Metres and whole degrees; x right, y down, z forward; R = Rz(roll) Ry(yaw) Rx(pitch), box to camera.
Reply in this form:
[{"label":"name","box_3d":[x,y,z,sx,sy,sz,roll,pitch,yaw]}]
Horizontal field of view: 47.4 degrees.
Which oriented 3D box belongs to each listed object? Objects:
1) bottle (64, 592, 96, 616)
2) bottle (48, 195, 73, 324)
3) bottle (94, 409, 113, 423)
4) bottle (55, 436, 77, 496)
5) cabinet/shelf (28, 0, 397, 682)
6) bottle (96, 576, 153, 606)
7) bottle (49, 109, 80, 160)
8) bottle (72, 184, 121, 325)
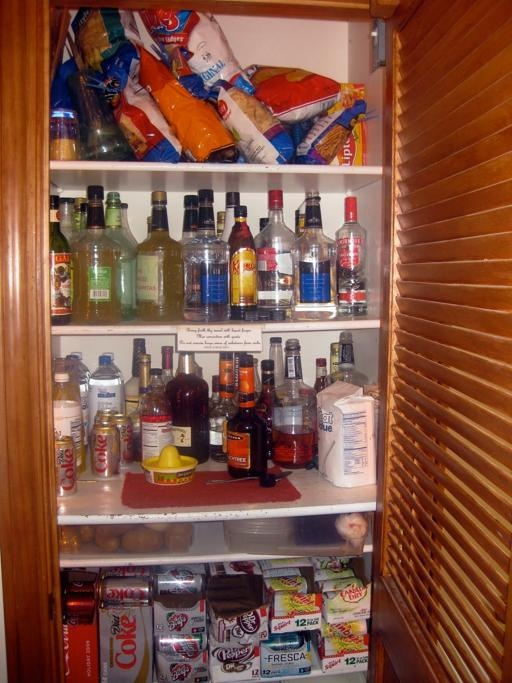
[{"label":"bottle","box_3d":[-0.394,0.590,1.307,0.064,0.051,0.051,3,6,0]},{"label":"bottle","box_3d":[-0.454,-0.191,1.353,0.050,0.283,0.201,-4,11,-16]},{"label":"bottle","box_3d":[-0.371,0.181,1.421,0.031,0.028,0.030,2,-4,-1]},{"label":"bottle","box_3d":[-0.425,0.275,1.306,0.037,0.134,0.085,-1,11,-5]},{"label":"cabinet/shelf","box_3d":[-0.093,-0.211,1.474,0.873,1.353,0.654,-2,11,-9]},{"label":"bottle","box_3d":[-0.297,0.569,1.332,0.096,0.056,0.040,3,1,-9]},{"label":"bottle","box_3d":[-0.426,-0.456,1.294,0.063,0.117,0.109,-3,11,-13]},{"label":"bottle","box_3d":[-0.376,-0.203,1.365,0.116,0.314,0.115,-1,11,0]}]
